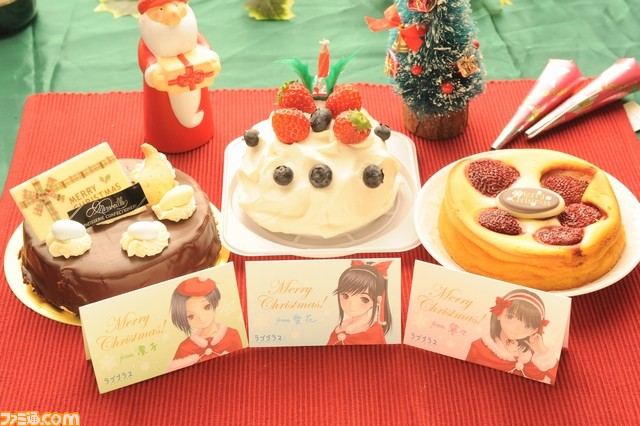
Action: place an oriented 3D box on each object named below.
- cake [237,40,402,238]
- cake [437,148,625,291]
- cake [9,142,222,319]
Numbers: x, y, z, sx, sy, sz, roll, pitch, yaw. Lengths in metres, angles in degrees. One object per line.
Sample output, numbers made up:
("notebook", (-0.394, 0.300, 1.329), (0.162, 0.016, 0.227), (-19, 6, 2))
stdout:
("cake", (-0.015, -0.247, 1.987), (0.605, 0.381, 0.655), (31, 49, 34))
("cake", (0.669, -0.003, 1.778), (0.572, 0.133, 0.500), (0, 62, 4))
("cake", (-0.632, 0.050, 1.713), (0.588, 0.259, 0.568), (-18, 50, -16))
